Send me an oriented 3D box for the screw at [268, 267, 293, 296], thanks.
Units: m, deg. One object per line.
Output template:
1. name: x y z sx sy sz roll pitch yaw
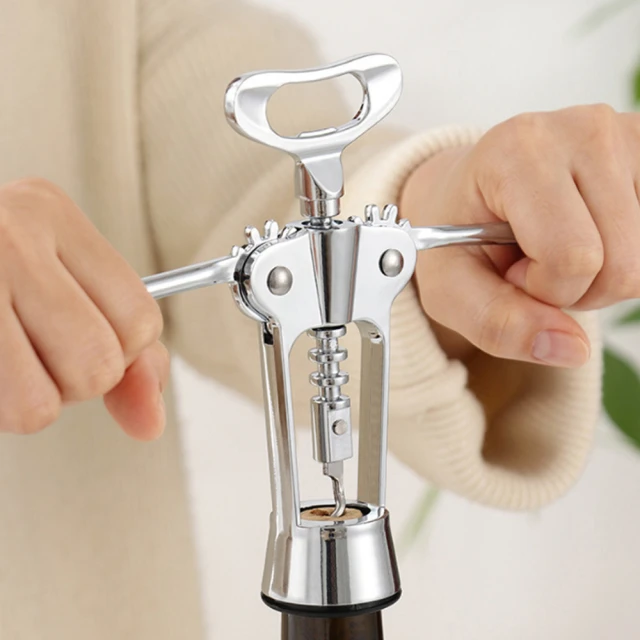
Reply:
1. screw: -0.010 -0.010 0.202 0.005 0.007 0.009 1 0 25
